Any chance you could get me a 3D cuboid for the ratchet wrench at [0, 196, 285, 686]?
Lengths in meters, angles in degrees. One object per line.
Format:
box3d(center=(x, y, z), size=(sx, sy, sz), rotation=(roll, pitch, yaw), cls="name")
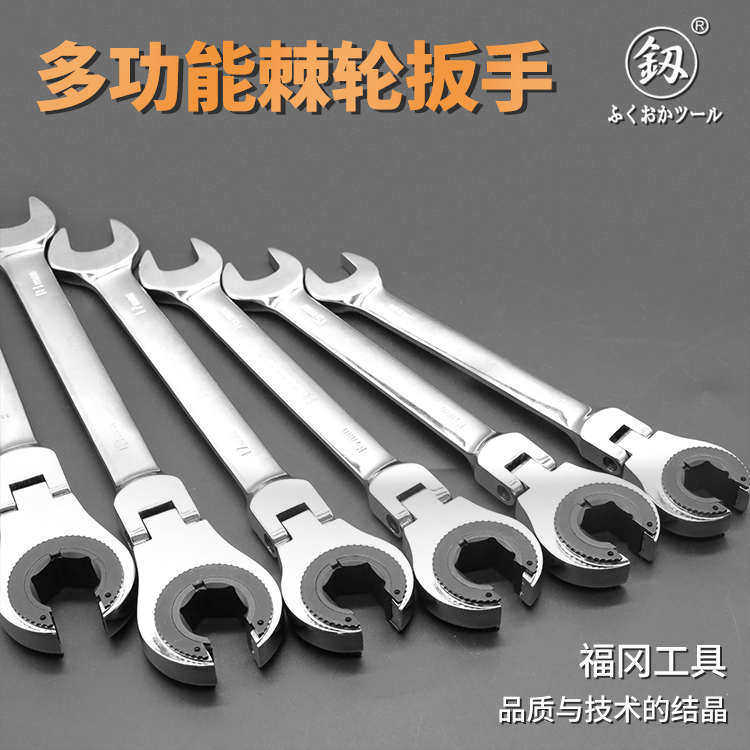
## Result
box3d(center=(-0.484, 0.144, 1.804), size=(0.214, 0.071, 0.978), rotation=(-9, 41, -27), cls="ratchet wrench")
